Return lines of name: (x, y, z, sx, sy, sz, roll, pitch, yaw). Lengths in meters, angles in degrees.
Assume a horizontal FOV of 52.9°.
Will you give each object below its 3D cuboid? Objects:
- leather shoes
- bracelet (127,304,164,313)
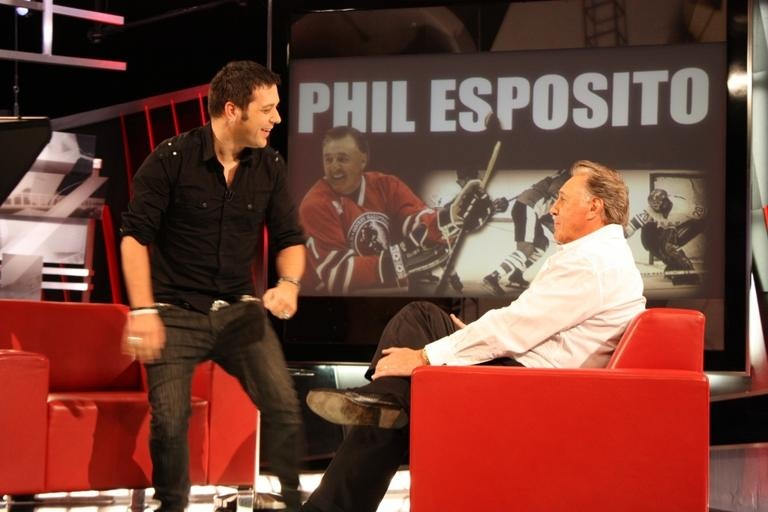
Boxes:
leather shoes: (-0.118, 0.648, 3.410, 0.497, 0.160, 0.217, 9, 10, -5)
bracelet: (-1.097, 0.239, 3.480, 0.114, 0.040, 0.046, 1, -3, -20)
